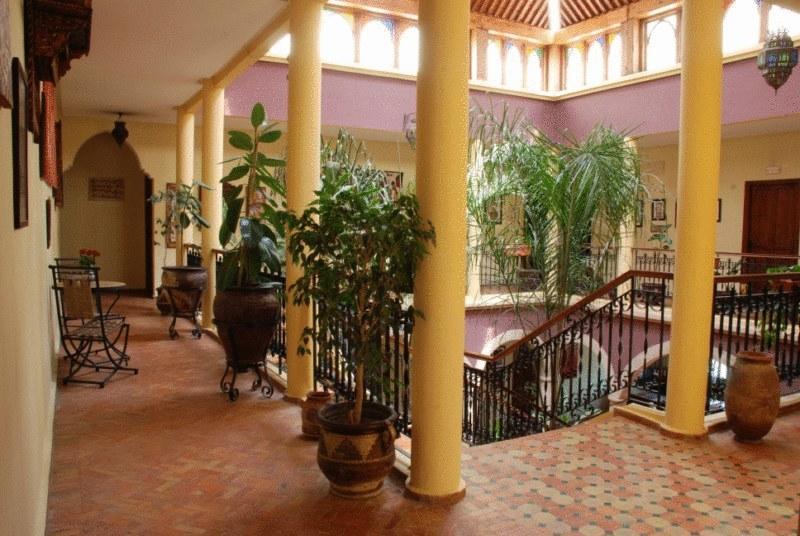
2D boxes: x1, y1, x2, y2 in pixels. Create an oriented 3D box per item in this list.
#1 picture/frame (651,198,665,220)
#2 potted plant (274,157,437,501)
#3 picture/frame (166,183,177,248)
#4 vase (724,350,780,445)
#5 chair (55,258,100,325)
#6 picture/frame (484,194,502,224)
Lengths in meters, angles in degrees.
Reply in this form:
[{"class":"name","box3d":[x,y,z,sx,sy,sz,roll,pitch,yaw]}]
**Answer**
[{"class":"picture/frame","box3d":[7.479,-1.649,15.051,0.179,0.674,0.519,-1,6,-25]},{"class":"potted plant","box3d":[-0.454,0.414,4.596,1.136,2.631,1.566,0,6,-14]},{"class":"picture/frame","box3d":[-5.870,-1.356,13.364,0.328,1.626,0.133,0,2,7]},{"class":"vase","box3d":[3.612,1.311,5.332,0.489,0.855,0.501,4,0,16]},{"class":"chair","box3d":[-4.052,0.252,6.580,0.591,0.990,0.613,-1,16,-27]},{"class":"picture/frame","box3d":[1.364,-0.835,7.578,0.272,0.389,1.047,2,6,10]}]
